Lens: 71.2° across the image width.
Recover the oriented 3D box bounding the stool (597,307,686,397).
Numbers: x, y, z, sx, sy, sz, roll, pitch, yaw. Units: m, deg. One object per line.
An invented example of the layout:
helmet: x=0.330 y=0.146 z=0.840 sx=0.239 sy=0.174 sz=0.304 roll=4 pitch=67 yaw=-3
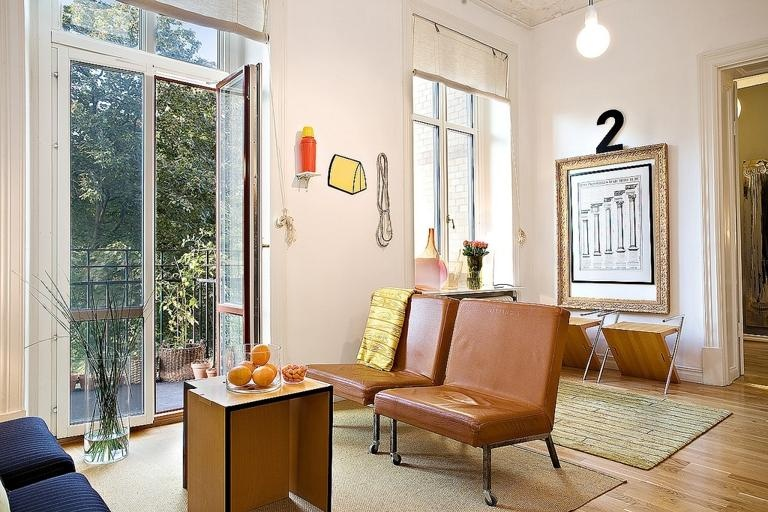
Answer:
stool: x=2.783 y=1.020 z=5.791 sx=0.742 sy=0.782 sz=0.461 roll=3 pitch=10 yaw=35

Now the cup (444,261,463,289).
cup: x=0.837 y=0.234 z=6.360 sx=0.281 sy=0.354 sz=0.266 roll=1 pitch=-8 yaw=0

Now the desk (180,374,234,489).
desk: x=-1.336 y=1.419 z=4.014 sx=0.450 sy=0.692 sz=0.445 roll=6 pitch=-10 yaw=-33

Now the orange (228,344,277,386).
orange: x=-0.862 y=0.732 z=3.439 sx=0.232 sy=0.127 sz=0.313 roll=3 pitch=8 yaw=16

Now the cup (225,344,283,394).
cup: x=-0.862 y=0.741 z=3.506 sx=0.307 sy=0.222 sz=0.313 roll=0 pitch=-8 yaw=0

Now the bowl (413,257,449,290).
bowl: x=0.509 y=0.229 z=5.877 sx=0.337 sy=0.351 sz=0.318 roll=2 pitch=-11 yaw=0

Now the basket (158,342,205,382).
basket: x=-2.478 y=1.294 z=6.480 sx=0.496 sy=0.431 sz=0.494 roll=3 pitch=-10 yaw=-20

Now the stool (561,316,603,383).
stool: x=2.453 y=1.112 z=6.309 sx=0.468 sy=0.517 sz=0.557 roll=12 pitch=-5 yaw=40

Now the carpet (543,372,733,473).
carpet: x=2.057 y=1.477 z=5.026 sx=1.520 sy=0.016 sz=1.759 roll=-9 pitch=3 yaw=-38

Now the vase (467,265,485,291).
vase: x=1.021 y=0.248 z=6.200 sx=0.224 sy=0.368 sz=0.223 roll=0 pitch=-7 yaw=5

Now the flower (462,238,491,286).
flower: x=1.057 y=0.100 z=6.291 sx=0.306 sy=0.533 sz=0.381 roll=1 pitch=10 yaw=10

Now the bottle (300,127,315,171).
bottle: x=-0.726 y=-0.984 z=5.038 sx=0.171 sy=0.426 sz=0.200 roll=-2 pitch=10 yaw=-9

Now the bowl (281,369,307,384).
bowl: x=-0.615 y=0.803 z=3.615 sx=0.108 sy=0.050 sz=0.107 roll=1 pitch=-5 yaw=0

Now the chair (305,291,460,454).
chair: x=-0.098 y=0.744 z=4.576 sx=1.274 sy=0.780 sz=1.264 roll=2 pitch=-3 yaw=-16
